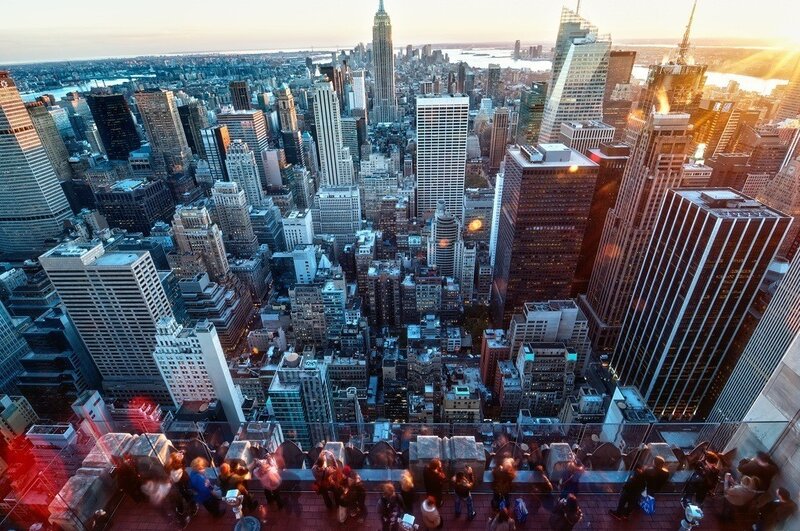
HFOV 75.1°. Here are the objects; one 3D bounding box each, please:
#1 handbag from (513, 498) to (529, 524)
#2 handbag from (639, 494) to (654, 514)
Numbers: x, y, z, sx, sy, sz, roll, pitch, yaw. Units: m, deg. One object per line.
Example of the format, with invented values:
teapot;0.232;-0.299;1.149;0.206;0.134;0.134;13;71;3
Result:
handbag;4.806;9.812;20.758;0.448;0.775;0.767;2;69;-12
handbag;9.835;9.479;20.733;0.433;0.629;0.761;0;-12;-8
